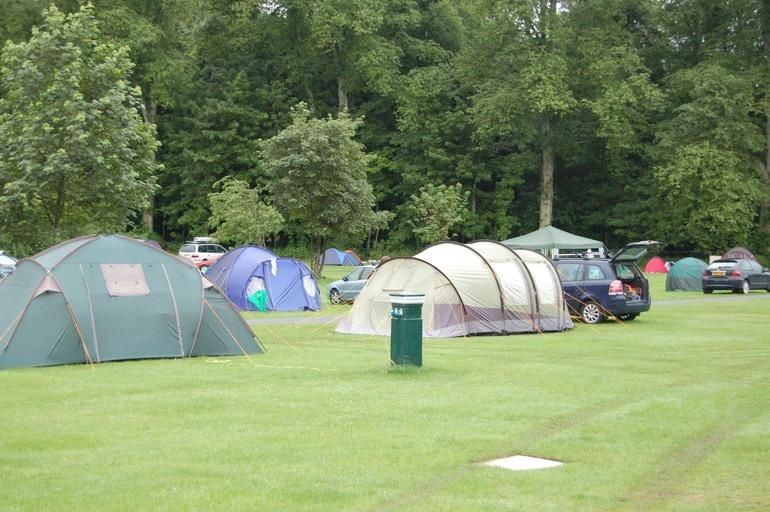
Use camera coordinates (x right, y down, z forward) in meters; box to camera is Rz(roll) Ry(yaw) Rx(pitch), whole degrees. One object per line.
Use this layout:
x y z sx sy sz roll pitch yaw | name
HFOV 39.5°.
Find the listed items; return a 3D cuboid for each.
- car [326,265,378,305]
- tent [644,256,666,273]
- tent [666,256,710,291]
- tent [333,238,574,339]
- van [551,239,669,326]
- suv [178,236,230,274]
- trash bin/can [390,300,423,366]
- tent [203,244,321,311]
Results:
-0.845 1.340 48.544 3.876 1.828 2.118 0 -4 42 | car
18.832 0.592 75.014 1.257 0.827 1.276 2 2 29 | tent
15.953 0.927 57.130 1.927 1.273 1.897 0 0 10 | tent
2.488 0.860 41.177 6.682 3.029 9.222 11 6 42 | tent
7.788 0.962 43.003 2.668 3.108 6.250 -4 5 -43 | van
-9.775 -0.097 57.178 3.388 1.673 1.890 -12 13 -42 | suv
0.586 2.271 32.313 1.050 2.183 0.546 -5 -3 -3 | trash bin/can
-5.833 0.871 46.490 5.253 2.515 4.374 4 6 41 | tent
